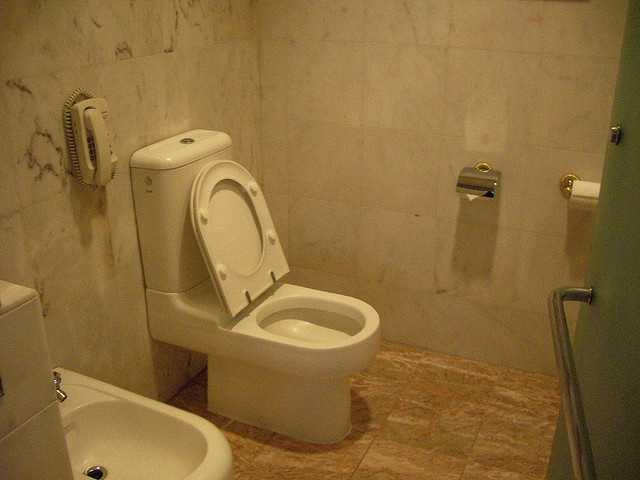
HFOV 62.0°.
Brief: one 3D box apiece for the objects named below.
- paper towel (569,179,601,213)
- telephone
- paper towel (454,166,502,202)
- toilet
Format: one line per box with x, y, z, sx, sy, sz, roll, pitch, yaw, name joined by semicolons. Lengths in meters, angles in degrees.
1.073;-0.183;2.163;0.101;0.111;0.121;9;18;22;paper towel
-0.754;-0.324;1.763;0.105;0.333;0.145;11;19;28;telephone
0.688;-0.256;2.311;0.186;0.129;0.201;21;36;35;paper towel
-0.207;0.214;2.183;0.911;1.164;0.550;10;22;23;toilet
